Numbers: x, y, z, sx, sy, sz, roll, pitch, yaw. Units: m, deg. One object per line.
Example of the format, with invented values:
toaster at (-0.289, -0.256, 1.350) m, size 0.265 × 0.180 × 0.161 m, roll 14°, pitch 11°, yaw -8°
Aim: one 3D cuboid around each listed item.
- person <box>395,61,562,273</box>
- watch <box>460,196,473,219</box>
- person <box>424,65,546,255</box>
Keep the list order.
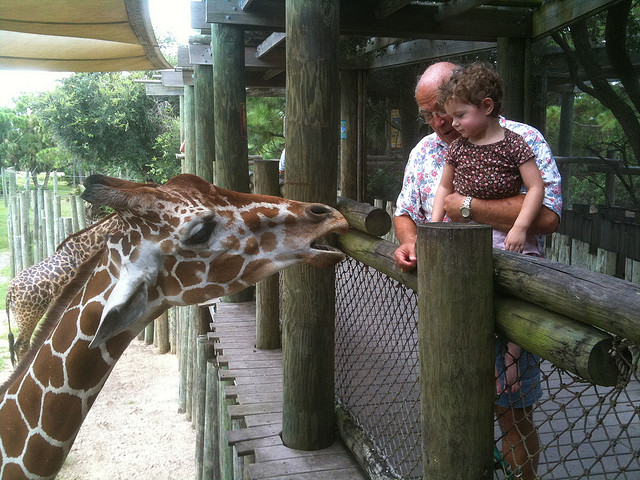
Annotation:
person at (0.863, -0.239, 3.014) m, size 0.996 × 1.514 × 0.661 m, roll 0°, pitch 2°, yaw 37°
watch at (0.784, -0.180, 2.790) m, size 0.063 × 0.121 × 0.106 m, roll 14°, pitch 27°, yaw 22°
person at (0.904, -0.285, 2.855) m, size 0.593 × 1.315 × 0.442 m, roll 1°, pitch 14°, yaw 40°
